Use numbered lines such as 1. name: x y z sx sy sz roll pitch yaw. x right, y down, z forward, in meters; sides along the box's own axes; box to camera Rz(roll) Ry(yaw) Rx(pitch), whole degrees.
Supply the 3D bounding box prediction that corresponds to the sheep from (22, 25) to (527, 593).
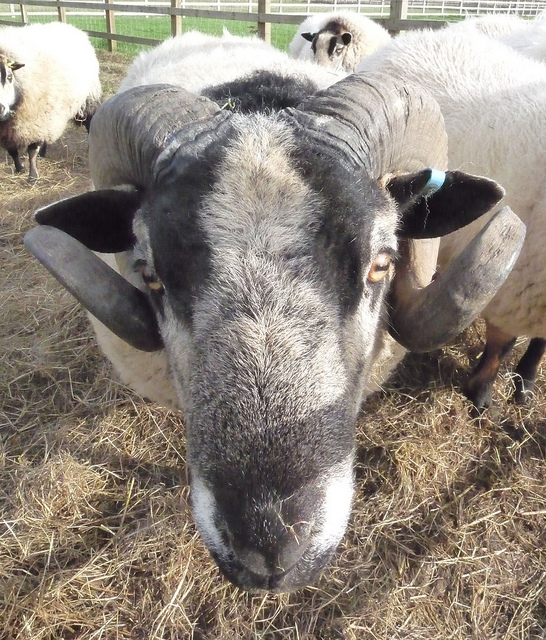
1. sheep: 0.046 -0.344 3.671 1.772 1.922 2.814 0 34 -1
